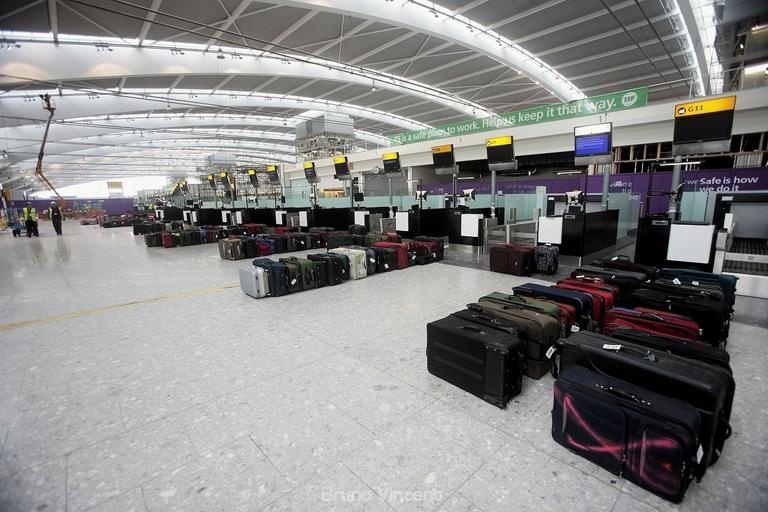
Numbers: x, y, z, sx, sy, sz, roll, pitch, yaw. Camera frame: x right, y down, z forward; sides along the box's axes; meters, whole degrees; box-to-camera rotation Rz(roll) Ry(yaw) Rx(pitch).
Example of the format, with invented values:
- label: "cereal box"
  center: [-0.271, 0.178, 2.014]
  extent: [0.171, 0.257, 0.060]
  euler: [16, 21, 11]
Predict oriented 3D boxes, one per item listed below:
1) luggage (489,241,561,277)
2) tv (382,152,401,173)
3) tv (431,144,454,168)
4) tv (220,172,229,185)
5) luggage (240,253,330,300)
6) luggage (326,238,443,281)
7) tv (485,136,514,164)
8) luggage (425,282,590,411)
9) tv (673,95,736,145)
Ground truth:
- label: "luggage"
  center: [3.247, 0.060, 9.193]
  extent: [0.911, 0.573, 1.175]
  euler: [-6, 8, -33]
- label: "tv"
  center: [0.253, -3.191, 13.654]
  extent: [0.753, 0.691, 0.249]
  euler: [4, 15, 38]
- label: "tv"
  center: [1.846, -3.119, 12.553]
  extent: [0.718, 0.710, 0.254]
  euler: [3, 14, 36]
- label: "tv"
  center: [-7.578, -3.728, 19.268]
  extent: [0.261, 0.601, 0.756]
  euler: [-11, 12, -28]
- label: "luggage"
  center: [-2.094, 0.395, 8.355]
  extent: [1.259, 0.446, 0.990]
  euler: [-8, 10, -44]
- label: "luggage"
  center: [0.159, -0.004, 10.082]
  extent: [3.011, 0.642, 0.680]
  euler: [-10, 12, -37]
- label: "tv"
  center: [3.185, -2.922, 11.055]
  extent: [0.727, 0.703, 0.215]
  euler: [2, 14, 31]
- label: "luggage"
  center: [1.781, 1.193, 5.702]
  extent: [2.056, 0.638, 1.168]
  euler: [-15, 17, -34]
- label: "tv"
  center: [6.570, -2.699, 8.094]
  extent: [0.515, 0.993, 1.226]
  euler: [-12, 15, -12]
